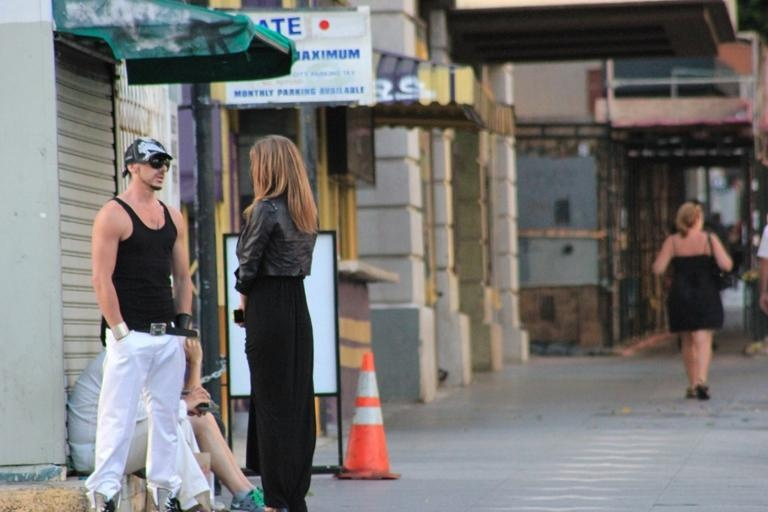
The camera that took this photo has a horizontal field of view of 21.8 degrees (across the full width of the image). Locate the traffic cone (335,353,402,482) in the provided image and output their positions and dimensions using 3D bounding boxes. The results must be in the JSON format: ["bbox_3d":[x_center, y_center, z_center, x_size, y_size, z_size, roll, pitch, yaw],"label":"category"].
[{"bbox_3d":[-0.207,1.707,21.619,0.545,1.108,0.539,-5,-2,43],"label":"traffic cone"}]

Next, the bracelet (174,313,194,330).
[{"bbox_3d":[-2.033,0.642,20.141,0.159,0.160,0.162,-1,-10,-3],"label":"bracelet"}]

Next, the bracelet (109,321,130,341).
[{"bbox_3d":[-2.615,0.713,19.597,0.155,0.127,0.169,-21,0,-18],"label":"bracelet"}]

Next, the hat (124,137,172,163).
[{"bbox_3d":[-2.393,-1.056,19.986,0.371,0.186,0.260,-7,3,10],"label":"hat"}]
